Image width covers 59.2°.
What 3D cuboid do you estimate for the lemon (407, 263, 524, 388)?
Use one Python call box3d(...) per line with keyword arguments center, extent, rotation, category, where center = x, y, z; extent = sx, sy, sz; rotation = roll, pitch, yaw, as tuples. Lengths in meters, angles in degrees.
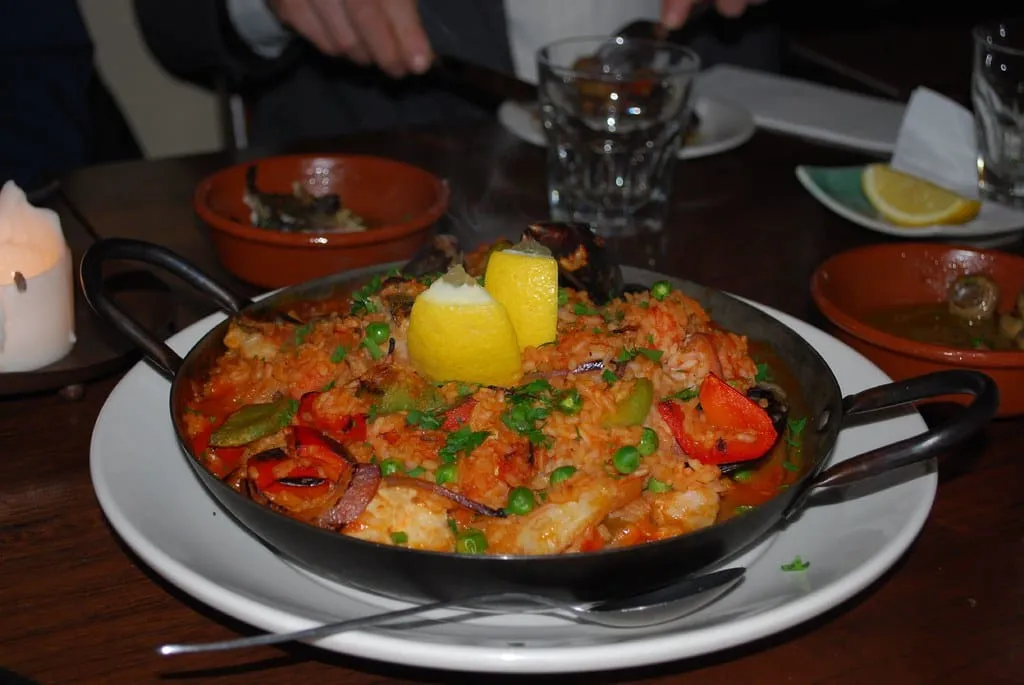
box3d(center=(-0.119, -0.034, 2.502), extent=(0.269, 0.351, 0.206), rotation=(-10, 20, 9), category="lemon")
